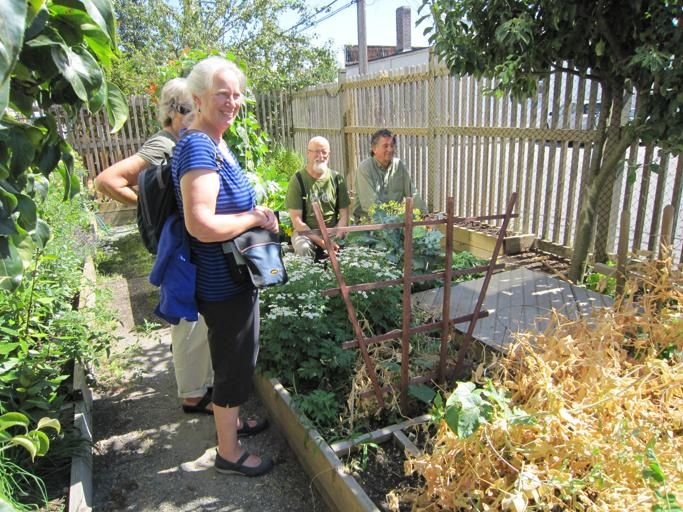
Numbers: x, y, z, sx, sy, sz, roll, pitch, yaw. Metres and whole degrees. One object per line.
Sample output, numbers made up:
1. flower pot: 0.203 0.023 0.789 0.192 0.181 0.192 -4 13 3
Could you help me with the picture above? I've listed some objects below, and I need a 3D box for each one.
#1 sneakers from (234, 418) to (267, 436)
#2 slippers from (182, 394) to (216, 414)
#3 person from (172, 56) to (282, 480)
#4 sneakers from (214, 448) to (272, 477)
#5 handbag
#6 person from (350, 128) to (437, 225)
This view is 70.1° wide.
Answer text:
1. sneakers: -0.651 1.194 3.451 0.234 0.096 0.086 -12 33 -23
2. slippers: -1.075 1.137 3.715 0.302 0.136 0.122 -1 11 2
3. person: -0.656 0.154 2.862 0.500 2.506 0.368 -8 16 -22
4. sneakers: -0.634 1.282 3.068 0.321 0.156 0.158 1 8 -11
5. handbag: -0.487 0.021 2.837 0.325 0.370 0.188 -18 -1 -30
6. person: 0.582 -0.863 5.617 0.764 1.166 0.940 -5 10 0
